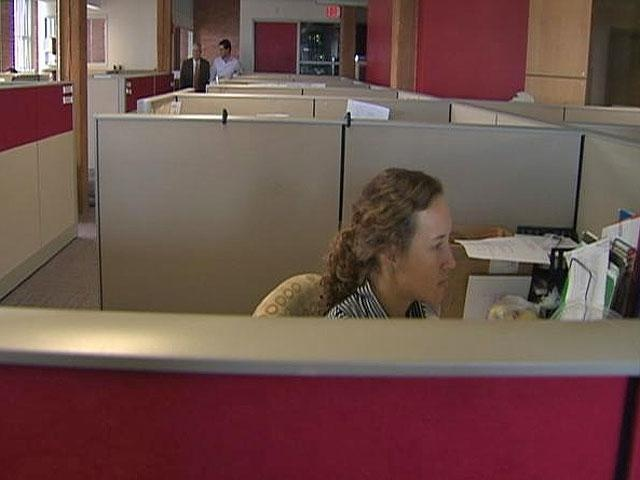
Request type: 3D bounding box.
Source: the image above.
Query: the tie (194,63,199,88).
[{"bbox_3d":[-2.720,-3.647,11.347,0.120,0.602,0.257,0,4,-21],"label":"tie"}]

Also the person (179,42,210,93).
[{"bbox_3d":[-2.753,-3.817,11.375,0.619,1.184,1.287,0,5,-14],"label":"person"}]

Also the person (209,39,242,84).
[{"bbox_3d":[-1.918,-3.494,10.321,0.640,0.988,0.602,2,14,2],"label":"person"}]
